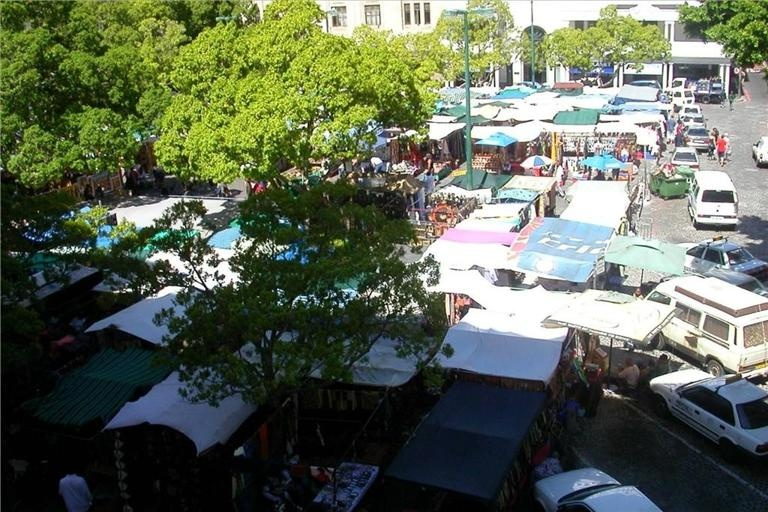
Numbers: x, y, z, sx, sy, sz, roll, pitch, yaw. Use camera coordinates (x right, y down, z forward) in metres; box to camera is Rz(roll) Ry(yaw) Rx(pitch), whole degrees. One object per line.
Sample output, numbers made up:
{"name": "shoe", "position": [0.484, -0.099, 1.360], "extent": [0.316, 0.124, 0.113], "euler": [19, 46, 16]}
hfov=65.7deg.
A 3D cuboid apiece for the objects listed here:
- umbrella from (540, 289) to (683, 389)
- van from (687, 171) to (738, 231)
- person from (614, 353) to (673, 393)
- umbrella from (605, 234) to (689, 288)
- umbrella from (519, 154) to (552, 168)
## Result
{"name": "umbrella", "position": [8.379, 3.296, 21.930], "extent": [2.902, 2.720, 3.044], "euler": [16, 33, 34]}
{"name": "van", "position": [18.739, -3.486, 34.047], "extent": [2.094, 2.031, 3.841], "euler": [2, 38, 16]}
{"name": "person", "position": [9.942, 4.404, 22.835], "extent": [2.039, 0.767, 1.238], "euler": [-22, 28, -4]}
{"name": "umbrella", "position": [11.279, -0.201, 25.463], "extent": [2.285, 1.587, 2.153], "euler": [14, 45, 18]}
{"name": "umbrella", "position": [10.335, -6.346, 40.519], "extent": [1.263, 0.448, 1.341], "euler": [-2, 28, 29]}
